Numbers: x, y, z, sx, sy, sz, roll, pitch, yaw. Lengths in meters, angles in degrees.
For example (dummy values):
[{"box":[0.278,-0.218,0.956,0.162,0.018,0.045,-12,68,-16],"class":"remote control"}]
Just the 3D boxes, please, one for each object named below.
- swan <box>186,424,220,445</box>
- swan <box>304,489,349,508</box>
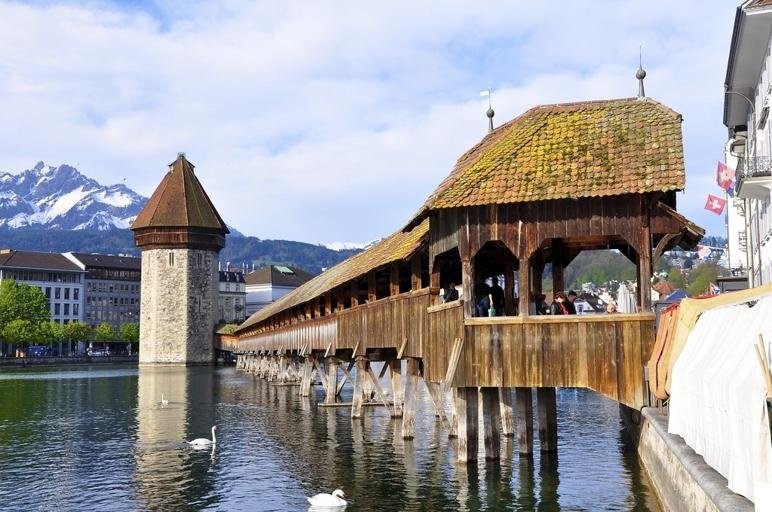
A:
[{"box":[-6.675,6.520,38.850,1.423,0.940,0.580,-2,-4,-5],"class":"swan"},{"box":[-1.612,6.920,30.789,0.923,0.490,0.529,-1,-9,5],"class":"swan"}]
